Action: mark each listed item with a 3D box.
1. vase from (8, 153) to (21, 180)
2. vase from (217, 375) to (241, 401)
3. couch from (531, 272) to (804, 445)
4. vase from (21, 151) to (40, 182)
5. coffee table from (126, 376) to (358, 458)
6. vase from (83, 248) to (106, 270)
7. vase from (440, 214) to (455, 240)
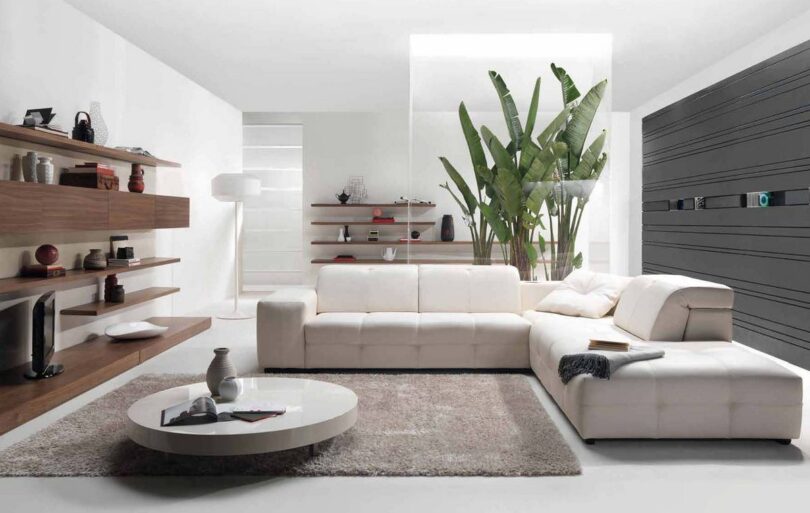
[{"bbox_3d":[-3.441,-0.794,4.674,0.061,0.224,0.088,3,7,24],"label":"vase"},{"bbox_3d":[-1.254,0.923,3.803,0.170,0.151,0.153,9,1,36],"label":"vase"},{"bbox_3d":[2.008,0.740,4.327,1.698,1.058,1.225,0,6,0],"label":"couch"},{"bbox_3d":[-3.339,-0.798,4.703,0.130,0.268,0.162,-2,6,-17],"label":"vase"},{"bbox_3d":[-1.116,1.120,3.700,1.535,0.308,0.701,0,6,-6],"label":"coffee table"},{"bbox_3d":[-3.122,0.034,5.352,0.216,0.193,0.209,2,-8,-10],"label":"vase"},{"bbox_3d":[0.501,-0.343,6.238,0.161,0.319,0.122,1,6,4],"label":"vase"}]
